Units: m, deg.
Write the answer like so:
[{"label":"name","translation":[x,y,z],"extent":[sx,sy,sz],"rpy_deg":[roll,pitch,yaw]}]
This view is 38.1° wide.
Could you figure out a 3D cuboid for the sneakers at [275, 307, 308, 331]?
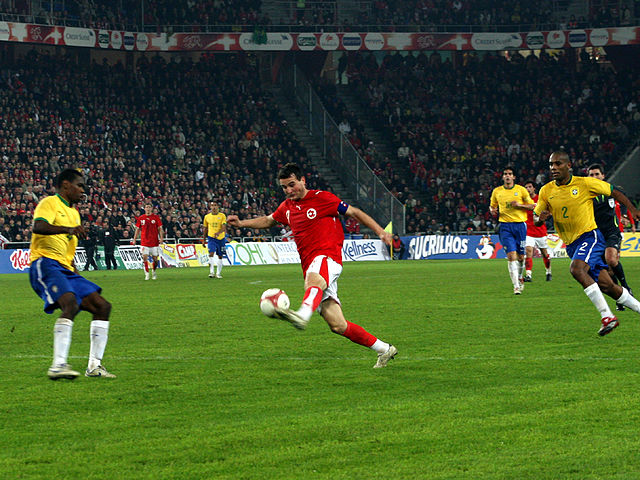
[{"label":"sneakers","translation":[-0.379,1.041,12.375],"extent":[0.179,0.460,0.193],"rpy_deg":[-51,8,-27]}]

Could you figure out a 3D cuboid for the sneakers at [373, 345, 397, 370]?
[{"label":"sneakers","translation":[0.927,1.681,13.295],"extent":[0.219,0.498,0.177],"rpy_deg":[18,37,-19]}]

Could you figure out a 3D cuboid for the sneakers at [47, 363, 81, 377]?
[{"label":"sneakers","translation":[-3.591,1.797,12.889],"extent":[0.466,0.225,0.168],"rpy_deg":[0,2,2]}]

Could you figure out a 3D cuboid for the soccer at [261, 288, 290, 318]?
[{"label":"soccer","translation":[-0.630,0.849,12.409],"extent":[0.382,0.373,0.372],"rpy_deg":[-19,25,-34]}]

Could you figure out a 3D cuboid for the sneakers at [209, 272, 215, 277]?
[{"label":"sneakers","translation":[-3.322,1.030,28.063],"extent":[0.182,0.154,0.391],"rpy_deg":[-2,10,-9]}]

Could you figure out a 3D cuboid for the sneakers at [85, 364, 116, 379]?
[{"label":"sneakers","translation":[-3.144,1.856,13.135],"extent":[0.483,0.200,0.169],"rpy_deg":[2,-2,0]}]

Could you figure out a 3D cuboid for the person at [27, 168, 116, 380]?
[{"label":"person","translation":[-3.576,0.472,13.096],"extent":[1.085,2.913,1.132],"rpy_deg":[-4,11,-18]}]

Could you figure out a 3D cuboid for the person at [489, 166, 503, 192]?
[{"label":"person","translation":[8.248,-2.879,43.458],"extent":[0.893,1.091,0.433],"rpy_deg":[-5,-16,18]}]
